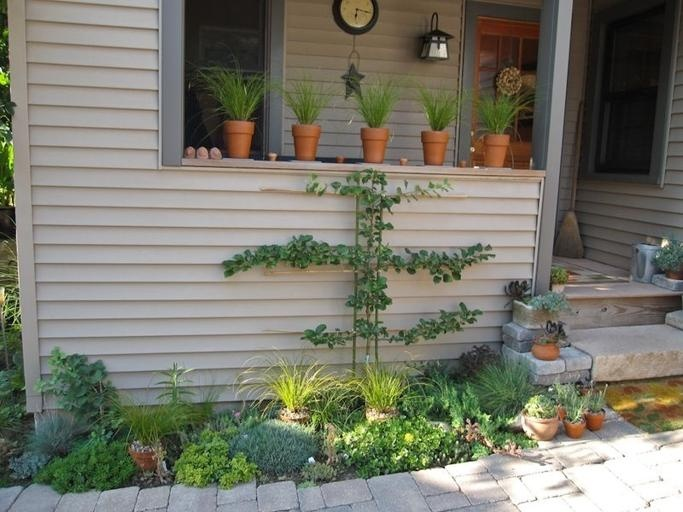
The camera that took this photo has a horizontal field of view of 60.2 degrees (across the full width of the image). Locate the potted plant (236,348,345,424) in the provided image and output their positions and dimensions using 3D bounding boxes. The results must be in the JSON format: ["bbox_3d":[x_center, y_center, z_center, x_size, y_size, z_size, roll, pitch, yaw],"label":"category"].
[{"bbox_3d":[-0.356,0.926,4.496,0.522,0.322,0.529,1,2,-40],"label":"potted plant"}]

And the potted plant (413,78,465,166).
[{"bbox_3d":[0.909,-1.050,4.806,0.362,0.639,0.398,7,15,11],"label":"potted plant"}]

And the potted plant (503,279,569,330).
[{"bbox_3d":[1.550,0.380,4.723,0.407,0.295,0.397,-3,14,-34],"label":"potted plant"}]

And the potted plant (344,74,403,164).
[{"bbox_3d":[0.251,-1.243,5.211,0.514,0.834,1.522,0,12,4],"label":"potted plant"}]

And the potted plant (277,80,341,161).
[{"bbox_3d":[-0.266,-1.058,4.605,0.397,0.637,0.424,0,8,-20],"label":"potted plant"}]

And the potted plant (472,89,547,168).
[{"bbox_3d":[1.285,-1.022,4.812,0.454,0.553,0.402,-4,6,-24],"label":"potted plant"}]

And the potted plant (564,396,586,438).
[{"bbox_3d":[1.639,1.117,4.109,0.187,0.258,0.149,-4,12,-16],"label":"potted plant"}]

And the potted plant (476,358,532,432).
[{"bbox_3d":[1.197,0.973,4.394,0.423,0.299,0.581,-2,12,-8],"label":"potted plant"}]

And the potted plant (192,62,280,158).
[{"bbox_3d":[-0.789,-1.048,4.489,0.573,0.635,0.466,1,7,-24],"label":"potted plant"}]

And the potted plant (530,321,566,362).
[{"bbox_3d":[1.625,0.650,4.552,0.218,0.328,0.325,3,5,38],"label":"potted plant"}]

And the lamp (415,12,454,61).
[{"bbox_3d":[0.954,-2.165,5.794,0.371,0.464,0.271,-2,12,-5],"label":"lamp"}]

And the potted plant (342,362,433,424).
[{"bbox_3d":[0.328,0.991,4.434,0.438,0.284,0.440,4,5,18],"label":"potted plant"}]
